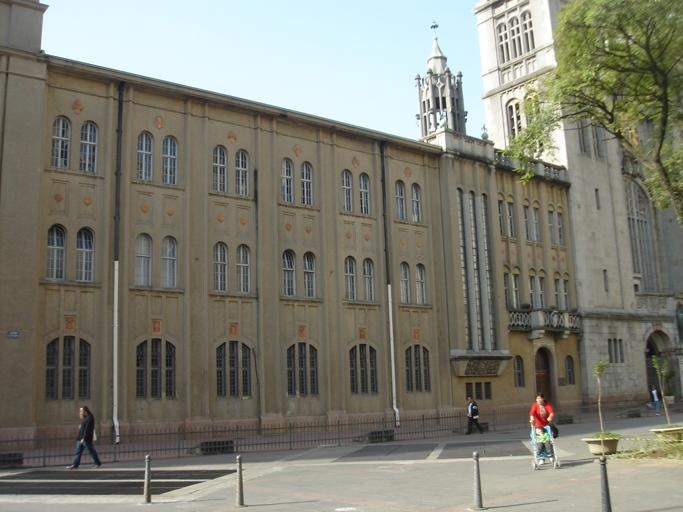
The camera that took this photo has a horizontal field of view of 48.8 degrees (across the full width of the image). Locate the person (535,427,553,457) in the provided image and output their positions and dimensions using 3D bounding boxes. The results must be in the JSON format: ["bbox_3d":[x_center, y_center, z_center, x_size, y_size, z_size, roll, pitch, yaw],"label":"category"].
[{"bbox_3d":[6.351,5.841,23.756,0.555,0.848,0.860,-2,-20,10],"label":"person"}]

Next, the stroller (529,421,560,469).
[{"bbox_3d":[6.414,6.218,24.118,0.782,1.215,1.384,-3,-26,4],"label":"stroller"}]
